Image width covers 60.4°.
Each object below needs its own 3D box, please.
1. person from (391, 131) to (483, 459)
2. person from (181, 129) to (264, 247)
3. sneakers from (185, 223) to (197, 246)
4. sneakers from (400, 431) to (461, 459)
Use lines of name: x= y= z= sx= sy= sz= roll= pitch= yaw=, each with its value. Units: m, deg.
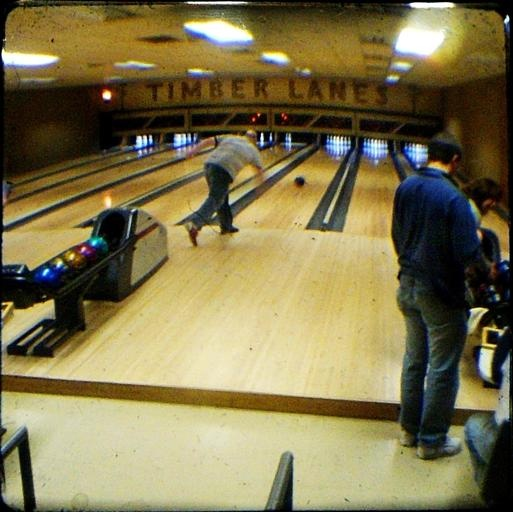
person: x=0.718 y=0.233 z=1.834 sx=0.278 sy=1.185 sz=0.322 roll=-1 pitch=12 yaw=6
person: x=-0.266 y=-0.637 z=4.080 sx=0.561 sy=1.016 sz=0.851 roll=3 pitch=13 yaw=22
sneakers: x=-0.549 y=-0.189 z=3.913 sx=0.075 sy=0.183 sz=0.106 roll=-20 pitch=57 yaw=-11
sneakers: x=0.739 y=0.802 z=1.878 sx=0.258 sy=0.107 sz=0.086 roll=-8 pitch=25 yaw=3
